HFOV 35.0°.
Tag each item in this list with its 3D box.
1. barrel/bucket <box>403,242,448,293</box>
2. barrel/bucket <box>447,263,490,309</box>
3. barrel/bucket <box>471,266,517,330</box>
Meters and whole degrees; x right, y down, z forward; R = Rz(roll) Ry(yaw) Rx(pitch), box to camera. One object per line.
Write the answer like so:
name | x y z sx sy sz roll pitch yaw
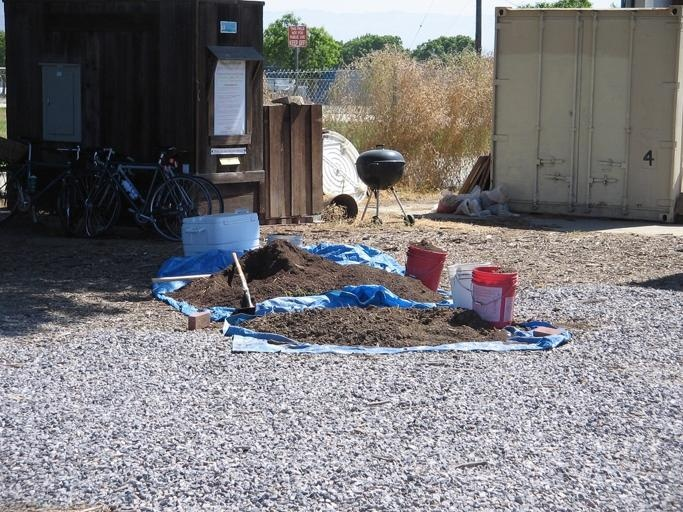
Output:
barrel/bucket | 0.814 0.073 10.972 0.418 0.426 0.398 12 14 -3
barrel/bucket | 1.061 0.303 10.133 0.418 0.384 0.385 -3 -5 0
barrel/bucket | 1.346 0.380 9.805 0.491 0.469 0.471 6 5 -1
